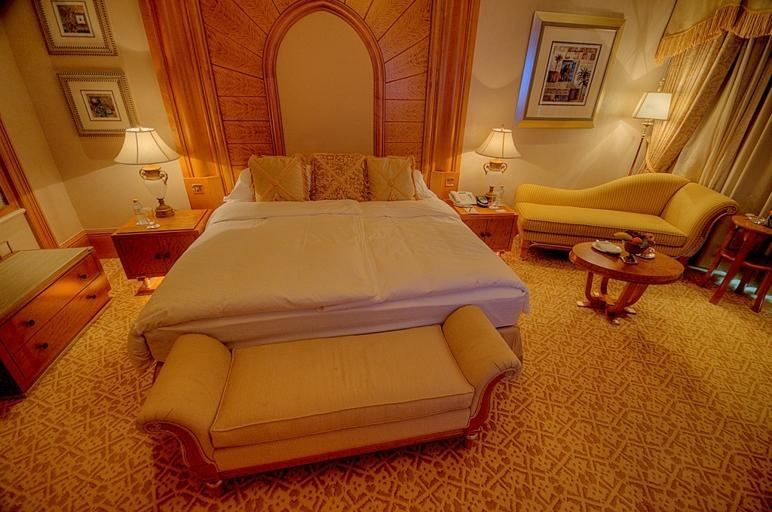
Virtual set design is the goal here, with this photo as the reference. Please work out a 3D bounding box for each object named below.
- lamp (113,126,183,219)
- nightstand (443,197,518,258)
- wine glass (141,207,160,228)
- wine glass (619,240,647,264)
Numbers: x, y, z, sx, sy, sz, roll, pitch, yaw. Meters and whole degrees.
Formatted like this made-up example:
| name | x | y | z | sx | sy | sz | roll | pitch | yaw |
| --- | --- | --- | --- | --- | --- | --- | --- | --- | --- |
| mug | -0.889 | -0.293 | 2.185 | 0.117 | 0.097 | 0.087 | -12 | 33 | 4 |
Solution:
| name | x | y | z | sx | sy | sz | roll | pitch | yaw |
| --- | --- | --- | --- | --- | --- | --- | --- | --- | --- |
| lamp | -2.835 | -1.033 | 5.379 | 0.615 | 0.971 | 0.639 | 11 | 32 | 10 |
| nightstand | 1.192 | -0.440 | 6.091 | 0.948 | 0.895 | 0.652 | -5 | 34 | -6 |
| wine glass | -2.714 | -0.437 | 5.241 | 0.164 | 0.188 | 0.169 | 19 | 40 | 10 |
| wine glass | 2.631 | -0.051 | 4.852 | 0.212 | 0.237 | 0.197 | 12 | 29 | 21 |
